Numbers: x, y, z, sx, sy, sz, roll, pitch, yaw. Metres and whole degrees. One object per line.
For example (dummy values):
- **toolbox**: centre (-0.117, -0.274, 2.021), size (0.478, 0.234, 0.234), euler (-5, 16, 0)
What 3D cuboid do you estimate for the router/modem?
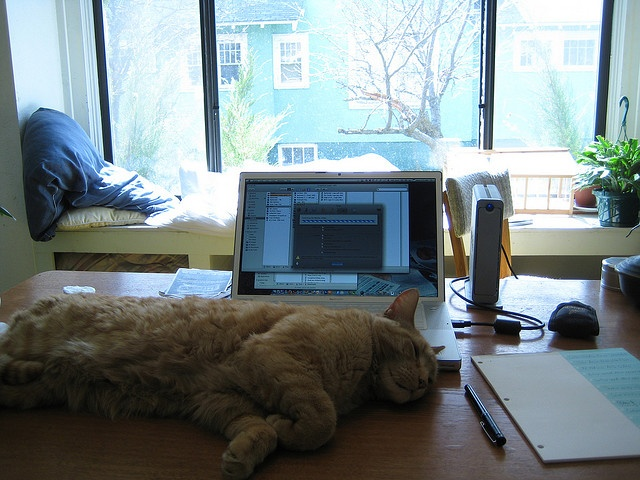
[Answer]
- **router/modem**: centre (0.426, 0.016, 1.291), size (0.097, 0.286, 0.286), euler (2, 12, 13)

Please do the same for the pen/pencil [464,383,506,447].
- **pen/pencil**: centre (0.301, 0.322, 0.926), size (0.020, 0.021, 0.098), euler (33, 11, -24)

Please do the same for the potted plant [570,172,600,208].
- **potted plant**: centre (1.596, -0.291, 3.019), size (0.181, 0.188, 0.174), euler (4, 14, 29)

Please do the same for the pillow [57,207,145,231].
- **pillow**: centre (-1.248, -0.128, 2.897), size (0.463, 0.122, 0.055), euler (-3, 7, -22)
